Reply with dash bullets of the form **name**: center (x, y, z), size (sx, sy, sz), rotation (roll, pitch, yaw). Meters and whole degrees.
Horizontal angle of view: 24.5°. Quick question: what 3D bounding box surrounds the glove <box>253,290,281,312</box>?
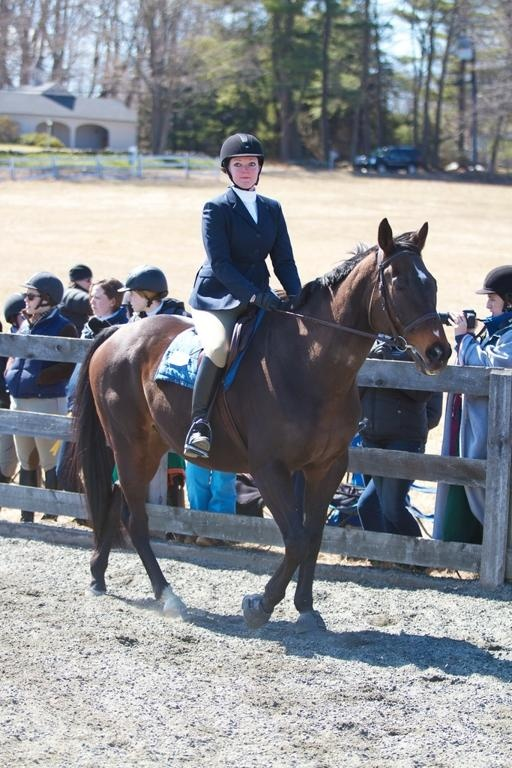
- **glove**: center (0.051, -0.453, 6.404), size (0.100, 0.075, 0.129), rotation (24, -7, -43)

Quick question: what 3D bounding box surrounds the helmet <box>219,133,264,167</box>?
- **helmet**: center (-0.082, -1.306, 6.575), size (0.174, 0.163, 0.214), rotation (0, 18, -11)

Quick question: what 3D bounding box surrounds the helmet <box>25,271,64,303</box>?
- **helmet**: center (-1.593, -0.746, 9.097), size (0.291, 0.170, 0.200), rotation (25, 6, -36)

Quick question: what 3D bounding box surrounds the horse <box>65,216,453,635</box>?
- **horse**: center (-0.076, 0.339, 6.935), size (0.860, 2.096, 3.315), rotation (2, -4, -39)

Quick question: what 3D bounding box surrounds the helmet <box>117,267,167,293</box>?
- **helmet**: center (-0.766, -0.732, 8.261), size (0.263, 0.129, 0.176), rotation (5, 1, -14)

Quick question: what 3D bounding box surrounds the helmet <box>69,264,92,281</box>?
- **helmet**: center (-1.552, -0.990, 10.485), size (0.178, 0.123, 0.166), rotation (3, 20, 7)
